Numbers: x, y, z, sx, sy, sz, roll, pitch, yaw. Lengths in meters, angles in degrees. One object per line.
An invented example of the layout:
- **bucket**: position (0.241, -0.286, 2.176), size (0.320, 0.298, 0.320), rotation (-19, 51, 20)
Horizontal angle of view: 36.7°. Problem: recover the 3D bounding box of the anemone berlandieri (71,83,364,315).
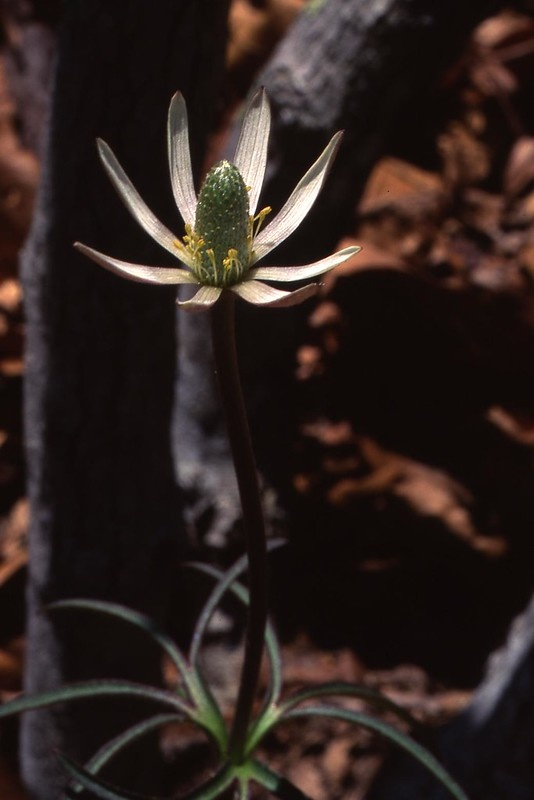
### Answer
- **anemone berlandieri**: position (-0.038, -0.153, 0.675), size (0.236, 0.100, 0.222), rotation (-8, 4, -44)
